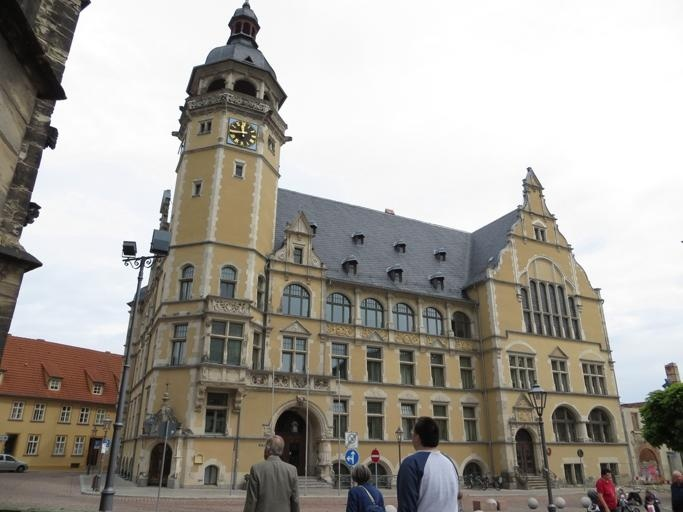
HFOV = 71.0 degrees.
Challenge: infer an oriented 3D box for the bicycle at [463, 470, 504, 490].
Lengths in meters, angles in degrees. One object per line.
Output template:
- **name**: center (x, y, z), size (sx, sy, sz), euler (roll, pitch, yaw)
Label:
- **bicycle**: center (10.270, 16.323, 34.729), size (2.613, 1.313, 1.257), euler (-3, -27, 15)
